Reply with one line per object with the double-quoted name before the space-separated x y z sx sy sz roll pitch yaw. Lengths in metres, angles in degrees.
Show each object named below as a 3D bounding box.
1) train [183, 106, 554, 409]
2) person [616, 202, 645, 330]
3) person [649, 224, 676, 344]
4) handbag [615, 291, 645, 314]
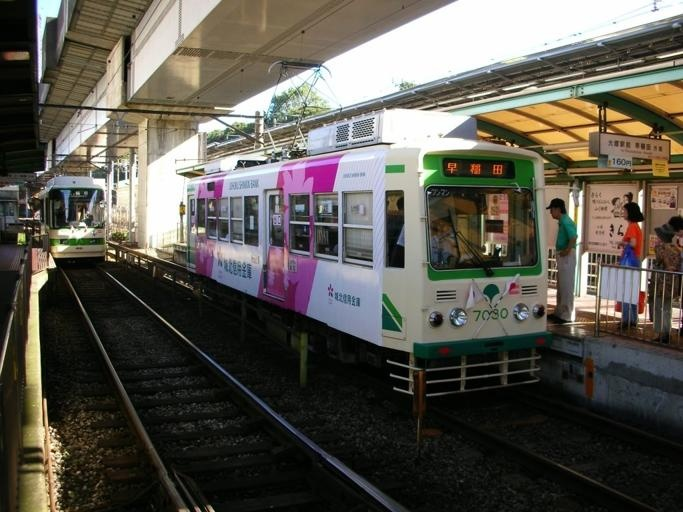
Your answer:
"train" -0.405 -0.170 12.692 2.406 4.146 10.996 -1 3 -24
"person" 4.682 0.130 9.192 0.323 1.981 1.329 1 4 27
"person" 4.816 0.331 8.444 0.357 1.780 1.084 2 4 31
"handbag" 4.496 0.716 8.897 0.275 0.551 0.304 -7 16 -12
